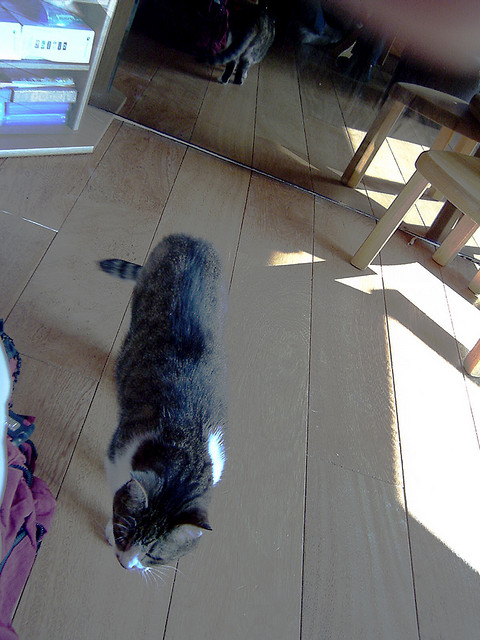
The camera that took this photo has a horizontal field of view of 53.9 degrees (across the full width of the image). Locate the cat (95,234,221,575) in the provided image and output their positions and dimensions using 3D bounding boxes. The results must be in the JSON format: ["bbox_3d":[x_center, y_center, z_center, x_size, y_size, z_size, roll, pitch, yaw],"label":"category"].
[{"bbox_3d":[-0.115,0.098,0.979,0.175,0.294,0.736,11,60,-28],"label":"cat"}]

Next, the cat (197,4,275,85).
[{"bbox_3d":[-0.001,-0.771,1.309,0.078,0.157,0.371,13,51,2],"label":"cat"}]

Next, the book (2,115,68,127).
[{"bbox_3d":[-0.535,-0.525,1.239,0.011,0.038,0.201,35,39,14],"label":"book"}]
